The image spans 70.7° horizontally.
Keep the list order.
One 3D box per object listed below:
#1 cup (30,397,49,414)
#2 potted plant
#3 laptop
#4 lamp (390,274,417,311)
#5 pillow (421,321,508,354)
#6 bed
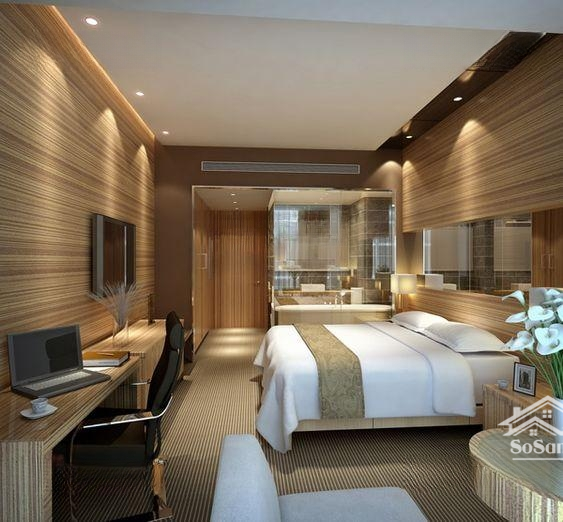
[{"bbox_3d":[-1.138,0.677,1.855,0.064,0.046,0.065,0,-7,0],"label":"cup"},{"bbox_3d":[-1.418,0.405,3.381,0.462,0.578,0.501,-1,1,-27],"label":"potted plant"},{"bbox_3d":[-1.324,0.574,2.282,0.333,0.319,0.489,-10,-5,23],"label":"laptop"},{"bbox_3d":[1.691,0.446,5.468,0.301,0.526,0.441,0,2,-8],"label":"lamp"},{"bbox_3d":[1.663,0.691,3.686,0.456,0.146,0.733,-1,-1,2],"label":"pillow"},{"bbox_3d":[0.824,0.965,3.311,1.291,0.458,1.235,2,0,1],"label":"bed"}]
